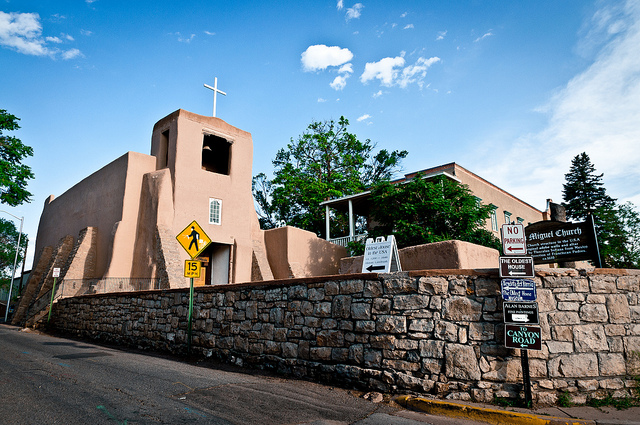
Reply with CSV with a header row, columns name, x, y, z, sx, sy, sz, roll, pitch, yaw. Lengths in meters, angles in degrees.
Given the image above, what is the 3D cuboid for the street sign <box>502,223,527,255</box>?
name,x,y,z,sx,sy,sz,roll,pitch,yaw
street sign,3.998,0.533,7.381,0.408,0.671,0.317,-4,-10,26

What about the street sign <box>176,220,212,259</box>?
name,x,y,z,sx,sy,sz,roll,pitch,yaw
street sign,-3.920,0.828,11.070,0.897,1.189,0.443,4,-10,-21

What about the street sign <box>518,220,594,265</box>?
name,x,y,z,sx,sy,sz,roll,pitch,yaw
street sign,7.331,0.935,11.342,2.297,1.273,0.101,-6,4,-9

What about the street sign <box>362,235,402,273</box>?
name,x,y,z,sx,sy,sz,roll,pitch,yaw
street sign,1.867,1.235,10.546,1.025,1.351,0.866,-7,-27,26

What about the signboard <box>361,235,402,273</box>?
name,x,y,z,sx,sy,sz,roll,pitch,yaw
signboard,1.658,1.237,9.794,0.726,1.133,0.886,6,-12,-44

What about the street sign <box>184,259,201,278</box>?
name,x,y,z,sx,sy,sz,roll,pitch,yaw
street sign,-3.952,1.736,11.055,0.427,0.552,0.829,4,-10,-21

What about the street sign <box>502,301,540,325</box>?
name,x,y,z,sx,sy,sz,roll,pitch,yaw
street sign,3.921,1.965,6.959,0.528,0.342,0.071,0,-7,26

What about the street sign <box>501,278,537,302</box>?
name,x,y,z,sx,sy,sz,roll,pitch,yaw
street sign,3.919,1.527,7.036,0.504,0.320,0.065,0,-6,14

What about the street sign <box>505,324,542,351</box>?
name,x,y,z,sx,sy,sz,roll,pitch,yaw
street sign,3.910,2.404,6.913,0.732,0.465,0.059,5,-12,-1

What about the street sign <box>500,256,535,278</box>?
name,x,y,z,sx,sy,sz,roll,pitch,yaw
street sign,3.923,1.089,7.106,0.481,0.306,0.063,0,-6,8
